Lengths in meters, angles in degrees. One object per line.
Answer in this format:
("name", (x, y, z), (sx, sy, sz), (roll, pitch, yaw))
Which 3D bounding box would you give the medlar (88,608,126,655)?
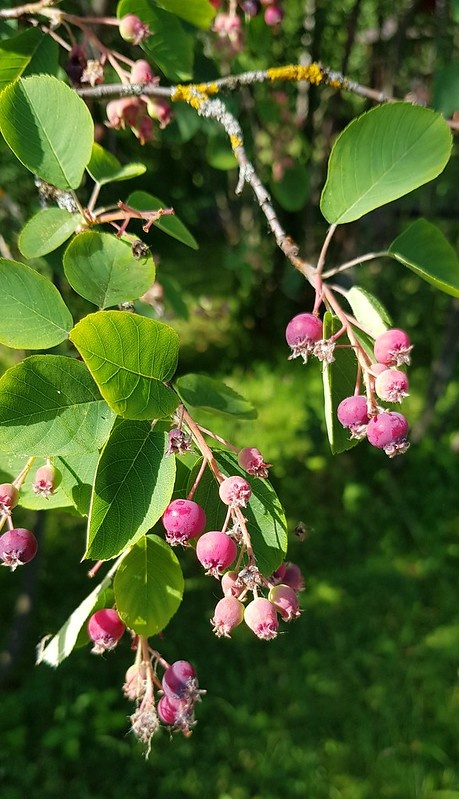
("medlar", (-0.217, 0.443, 1.459), (0.079, 0.077, 0.091), (1, 67, -4))

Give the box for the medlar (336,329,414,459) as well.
("medlar", (0.283, -0.011, 1.409), (0.144, 0.222, 0.082), (20, 7, 12))

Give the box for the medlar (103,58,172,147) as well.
("medlar", (-0.208, -0.663, 1.741), (0.155, 0.077, 0.193), (-17, 64, 7))

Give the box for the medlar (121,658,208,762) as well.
("medlar", (-0.102, 0.552, 1.441), (0.107, 0.157, 0.206), (11, 14, 5))

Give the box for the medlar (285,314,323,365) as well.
("medlar", (0.133, -0.127, 1.395), (0.074, 0.087, 0.070), (-9, 16, 7))

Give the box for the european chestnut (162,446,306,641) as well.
("european chestnut", (-0.003, 0.222, 1.410), (0.229, 0.354, 0.113), (-12, 5, -3))

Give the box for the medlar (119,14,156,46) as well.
("medlar", (-0.222, -0.852, 1.789), (0.065, 0.081, 0.042), (-40, 0, -23))

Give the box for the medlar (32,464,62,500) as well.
("medlar", (-0.343, 0.156, 1.436), (0.042, 0.065, 0.040), (27, 45, 12))
